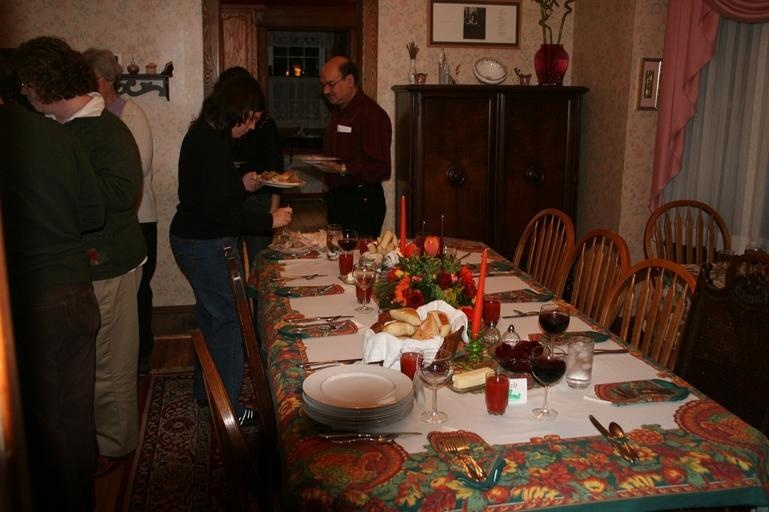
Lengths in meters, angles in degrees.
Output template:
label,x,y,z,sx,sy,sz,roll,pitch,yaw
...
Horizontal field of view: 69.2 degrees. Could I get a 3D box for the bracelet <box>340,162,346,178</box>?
label,x,y,z,sx,sy,sz,roll,pitch,yaw
bracelet,-0.295,-0.619,4.064,0.051,0.082,0.082,1,22,-1

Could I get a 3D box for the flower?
label,x,y,z,sx,sy,sz,roll,pitch,yaw
flower,0.162,0.089,2.153,0.310,0.201,0.322,10,2,7

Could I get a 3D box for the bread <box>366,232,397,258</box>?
label,x,y,z,sx,sy,sz,roll,pitch,yaw
bread,-0.016,-0.089,2.931,0.134,0.063,0.137,-26,13,21

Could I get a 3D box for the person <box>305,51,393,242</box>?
label,x,y,z,sx,sy,sz,roll,pitch,yaw
person,-0.215,-0.843,4.317,0.516,1.348,0.656,-2,14,-5

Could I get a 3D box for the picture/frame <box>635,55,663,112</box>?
label,x,y,z,sx,sy,sz,roll,pitch,yaw
picture/frame,2.147,-1.394,4.511,0.174,0.409,0.049,-2,14,-6

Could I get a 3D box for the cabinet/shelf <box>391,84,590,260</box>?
label,x,y,z,sx,sy,sz,roll,pitch,yaw
cabinet/shelf,0.857,-0.740,4.611,1.374,1.416,0.544,-3,11,-14

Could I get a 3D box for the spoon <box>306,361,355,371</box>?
label,x,y,z,sx,sy,sz,roll,pitch,yaw
spoon,-0.169,0.350,1.769,0.136,0.021,0.024,-4,14,-16

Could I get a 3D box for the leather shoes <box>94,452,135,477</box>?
label,x,y,z,sx,sy,sz,roll,pitch,yaw
leather shoes,-1.440,1.098,2.933,0.086,0.034,0.126,2,27,1

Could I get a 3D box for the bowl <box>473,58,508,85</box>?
label,x,y,z,sx,sy,sz,roll,pitch,yaw
bowl,0.978,-1.697,5.115,0.260,0.239,0.363,7,16,27

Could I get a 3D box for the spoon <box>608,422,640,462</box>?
label,x,y,z,sx,sy,sz,roll,pitch,yaw
spoon,0.617,0.489,1.444,0.031,0.144,0.021,-27,33,30

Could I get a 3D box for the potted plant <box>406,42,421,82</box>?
label,x,y,z,sx,sy,sz,roll,pitch,yaw
potted plant,0.260,-1.765,5.054,0.124,0.367,0.163,0,14,2

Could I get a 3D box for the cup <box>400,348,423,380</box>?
label,x,y,z,sx,sy,sz,roll,pitch,yaw
cup,0.066,0.312,1.637,0.080,0.096,0.082,1,10,0
